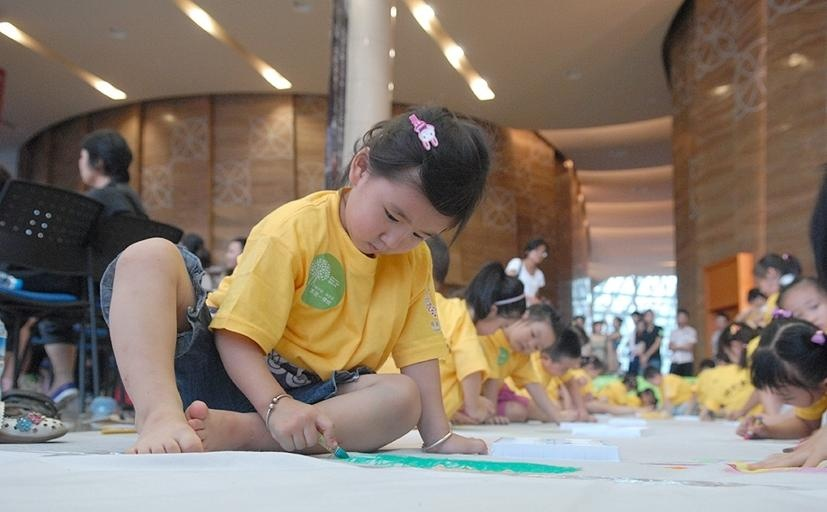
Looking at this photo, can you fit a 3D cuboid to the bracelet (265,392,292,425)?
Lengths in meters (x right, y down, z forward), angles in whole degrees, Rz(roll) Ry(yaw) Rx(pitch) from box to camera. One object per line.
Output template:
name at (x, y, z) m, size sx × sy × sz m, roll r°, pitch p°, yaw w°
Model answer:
bracelet at (-0.357, 0.403, 1.787) m, size 0.026 × 0.068 × 0.075 m, roll 31°, pitch -57°, yaw 3°

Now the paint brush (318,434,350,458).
paint brush at (-0.216, 0.504, 1.800) m, size 0.109 × 0.021 × 0.009 m, roll 43°, pitch -18°, yaw -18°

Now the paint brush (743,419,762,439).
paint brush at (1.305, 0.667, 2.614) m, size 0.024 × 0.060 × 0.077 m, roll 27°, pitch -58°, yaw -19°

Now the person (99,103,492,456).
person at (-0.276, 0.113, 2.005) m, size 1.249 × 0.900 × 1.059 m, roll 7°, pitch -13°, yaw -20°
